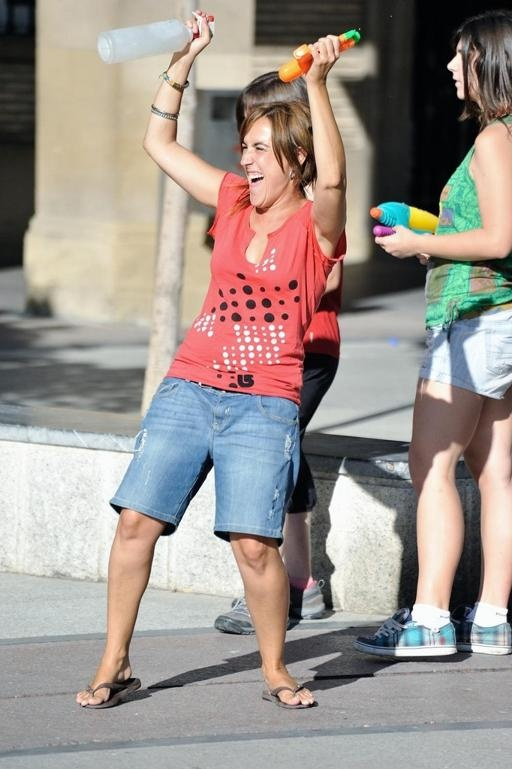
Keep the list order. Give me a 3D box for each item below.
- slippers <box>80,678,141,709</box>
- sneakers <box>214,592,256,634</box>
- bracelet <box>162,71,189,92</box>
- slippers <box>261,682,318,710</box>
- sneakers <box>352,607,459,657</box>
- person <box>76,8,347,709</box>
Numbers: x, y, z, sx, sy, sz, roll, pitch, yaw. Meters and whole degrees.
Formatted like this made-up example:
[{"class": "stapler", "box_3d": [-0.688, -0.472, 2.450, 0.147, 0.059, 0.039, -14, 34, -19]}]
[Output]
[{"class": "slippers", "box_3d": [-0.388, 0.827, 3.050, 0.067, 0.040, 0.171, 5, 5, 42]}, {"class": "sneakers", "box_3d": [-0.067, 0.805, 3.876, 0.105, 0.084, 0.207, 14, -10, 5]}, {"class": "bracelet", "box_3d": [-0.236, -0.869, 3.269, 0.073, 0.021, 0.069, 28, -6, 1]}, {"class": "slippers", "box_3d": [0.080, 0.849, 3.056, 0.070, 0.035, 0.129, -3, 1, -43]}, {"class": "sneakers", "box_3d": [0.473, 0.779, 3.526, 0.384, 0.144, 0.124, 0, -6, 10]}, {"class": "person", "box_3d": [-0.089, -0.101, 3.084, 0.650, 1.950, 0.567, 3, 4, 6]}]
